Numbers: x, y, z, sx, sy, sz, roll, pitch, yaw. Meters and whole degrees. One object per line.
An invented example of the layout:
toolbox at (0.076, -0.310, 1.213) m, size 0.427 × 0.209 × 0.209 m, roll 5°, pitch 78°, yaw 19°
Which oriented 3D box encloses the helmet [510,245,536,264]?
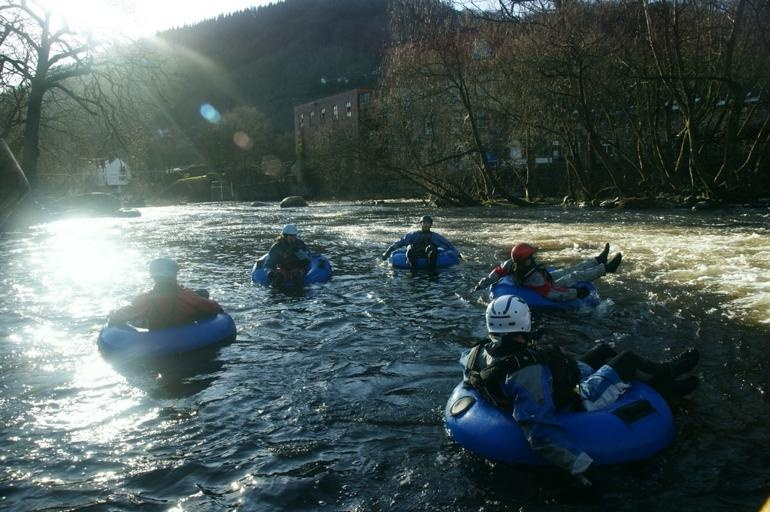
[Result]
helmet at (2.916, -0.085, 13.852) m, size 0.429 × 0.352 × 0.377 m, roll -1°, pitch 11°, yaw 4°

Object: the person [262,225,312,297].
person at (-2.381, -0.020, 16.106) m, size 1.103 × 1.420 × 1.324 m, roll -3°, pitch 11°, yaw -8°

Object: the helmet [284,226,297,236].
helmet at (-2.348, -0.636, 16.281) m, size 0.306 × 0.280 × 0.238 m, roll 14°, pitch 15°, yaw 38°

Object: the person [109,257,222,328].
person at (-3.991, 0.636, 11.884) m, size 1.459 × 0.877 × 1.423 m, roll -2°, pitch 15°, yaw -17°

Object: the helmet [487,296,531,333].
helmet at (1.762, 0.761, 9.165) m, size 0.449 × 0.444 × 0.587 m, roll 0°, pitch 16°, yaw 22°

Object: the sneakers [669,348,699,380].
sneakers at (4.671, 1.696, 10.188) m, size 0.223 × 0.088 × 0.592 m, roll 38°, pitch 51°, yaw 25°
